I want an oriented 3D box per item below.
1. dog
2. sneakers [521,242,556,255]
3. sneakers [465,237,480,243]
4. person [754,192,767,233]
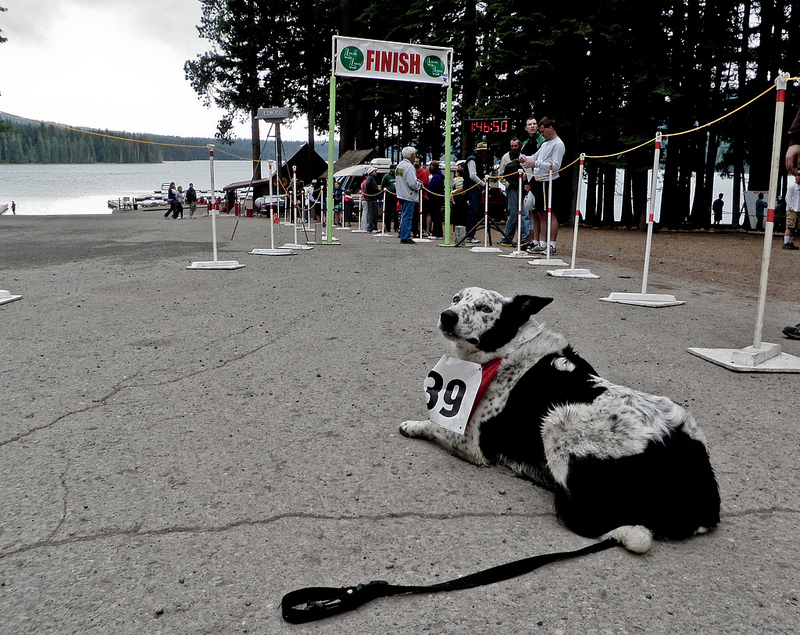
[{"bbox_3d":[0.671,0.293,3.293,0.697,0.863,1.505,-3,15,-24],"label":"dog"},{"bbox_3d":[2.669,-1.357,13.389,0.575,0.309,0.230,4,10,-9],"label":"sneakers"},{"bbox_3d":[1.934,-2.040,18.240,0.148,0.232,0.468,-2,6,-17],"label":"sneakers"},{"bbox_3d":[14.571,-4.293,28.218,0.384,1.530,2.053,6,13,26],"label":"person"}]
